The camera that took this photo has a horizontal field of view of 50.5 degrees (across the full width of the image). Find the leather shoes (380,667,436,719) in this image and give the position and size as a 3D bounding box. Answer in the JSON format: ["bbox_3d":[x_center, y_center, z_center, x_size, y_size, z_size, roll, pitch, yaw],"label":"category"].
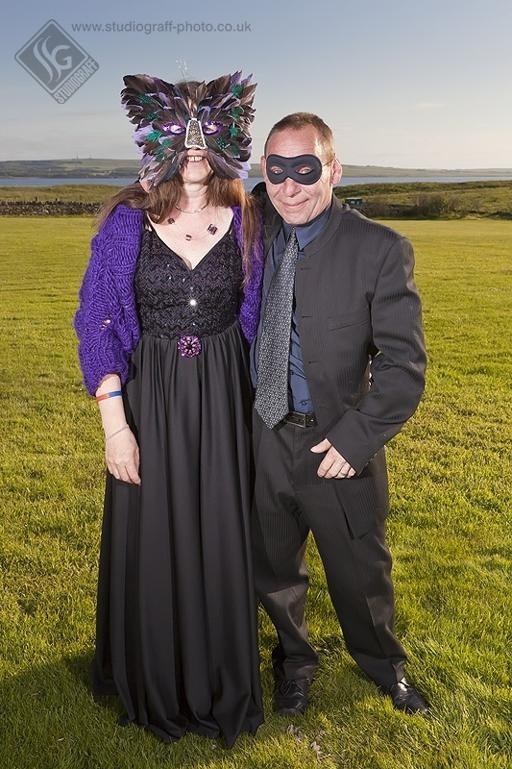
[{"bbox_3d":[0.628,1.301,2.308,0.077,0.094,0.231,-16,6,-13],"label":"leather shoes"}]

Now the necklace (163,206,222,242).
[{"bbox_3d":[-0.225,-0.586,1.978,0.264,0.145,0.069,-2,6,-17],"label":"necklace"}]

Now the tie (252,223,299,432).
[{"bbox_3d":[0.061,-0.195,1.967,0.178,0.710,0.101,3,6,29],"label":"tie"}]

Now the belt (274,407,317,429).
[{"bbox_3d":[0.146,0.111,2.015,0.105,0.047,0.077,14,-7,23],"label":"belt"}]

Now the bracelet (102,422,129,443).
[{"bbox_3d":[-0.503,0.178,1.983,0.065,0.067,0.085,1,-12,-18],"label":"bracelet"}]

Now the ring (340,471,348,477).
[{"bbox_3d":[0.308,0.315,1.909,0.015,0.020,0.021,0,-1,0],"label":"ring"}]

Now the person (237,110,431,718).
[{"bbox_3d":[0.318,0.232,2.098,0.705,2.325,0.644,2,6,19],"label":"person"}]
